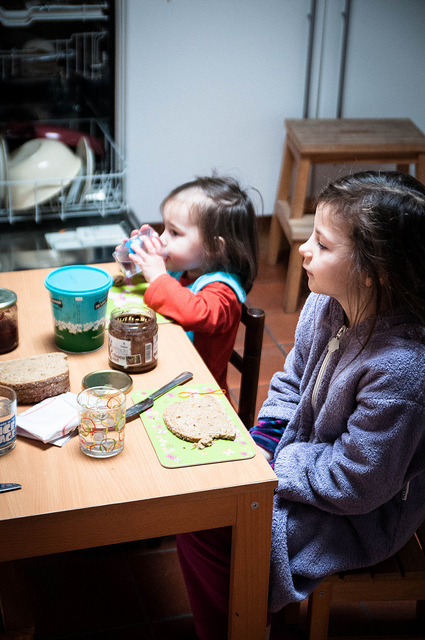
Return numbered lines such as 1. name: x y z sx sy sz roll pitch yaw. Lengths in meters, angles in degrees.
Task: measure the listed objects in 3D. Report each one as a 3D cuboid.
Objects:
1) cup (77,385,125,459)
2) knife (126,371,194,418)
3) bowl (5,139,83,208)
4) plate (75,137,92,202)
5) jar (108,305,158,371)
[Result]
1. cup: -0.143 0.139 0.658 0.062 0.074 0.065 -1 -3 0
2. knife: -0.080 0.101 0.809 0.031 0.009 0.176 18 25 23
3. bowl: -0.409 -0.354 1.235 0.182 0.155 0.215 -2 23 -14
4. plate: -0.314 -0.384 1.248 0.019 0.110 0.108 0 25 -20
5. jar: -0.136 0.035 0.867 0.085 0.095 0.085 5 17 -1
